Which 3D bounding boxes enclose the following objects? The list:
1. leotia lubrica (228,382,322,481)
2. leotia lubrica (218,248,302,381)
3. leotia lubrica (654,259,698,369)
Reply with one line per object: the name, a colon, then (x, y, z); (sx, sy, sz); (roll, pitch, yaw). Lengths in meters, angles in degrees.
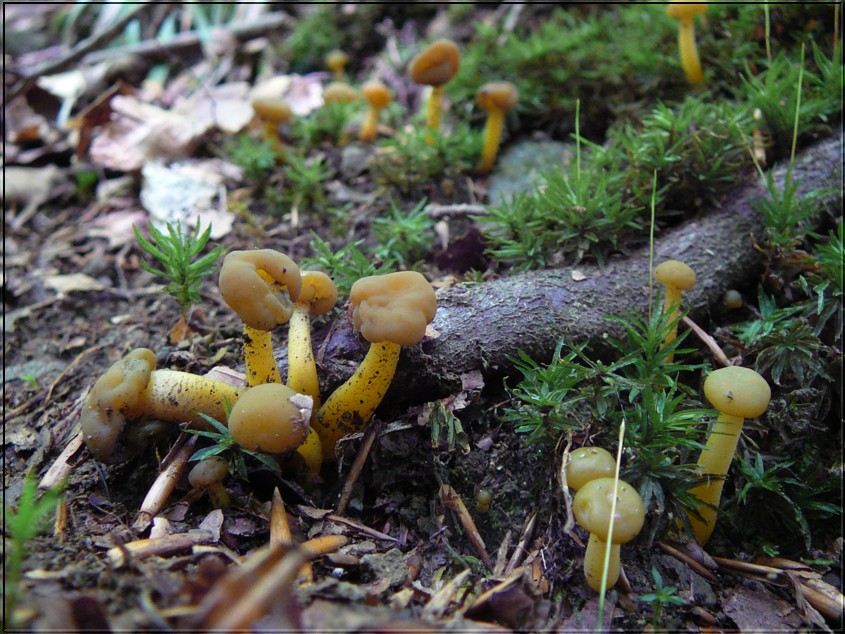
leotia lubrica: (-0.688, 0.580, 3.581); (0.437, 0.249, 0.394); (29, 47, -1)
leotia lubrica: (-0.827, 0.007, 3.788); (0.278, 0.725, 0.323); (-10, 44, -15)
leotia lubrica: (1.366, -0.045, 3.926); (0.195, 0.592, 0.523); (-8, 44, 22)
